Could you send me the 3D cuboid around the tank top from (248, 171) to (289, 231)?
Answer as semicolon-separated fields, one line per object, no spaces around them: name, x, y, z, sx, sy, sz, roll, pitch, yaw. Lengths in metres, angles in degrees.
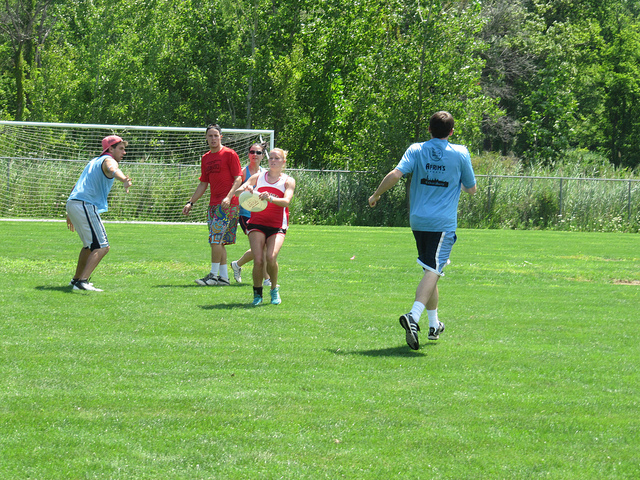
tank top;-0.576;-0.664;15.421;0.598;0.920;0.822;-7;14;-41

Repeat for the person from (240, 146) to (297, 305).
person;-0.811;-0.198;15.175;0.742;2.412;0.532;4;5;-4

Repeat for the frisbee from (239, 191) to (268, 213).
frisbee;-0.997;-0.583;14.989;0.422;0.315;0.257;3;5;-10

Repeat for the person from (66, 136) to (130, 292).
person;-3.554;-0.406;15.627;0.811;2.458;0.472;3;5;-12
